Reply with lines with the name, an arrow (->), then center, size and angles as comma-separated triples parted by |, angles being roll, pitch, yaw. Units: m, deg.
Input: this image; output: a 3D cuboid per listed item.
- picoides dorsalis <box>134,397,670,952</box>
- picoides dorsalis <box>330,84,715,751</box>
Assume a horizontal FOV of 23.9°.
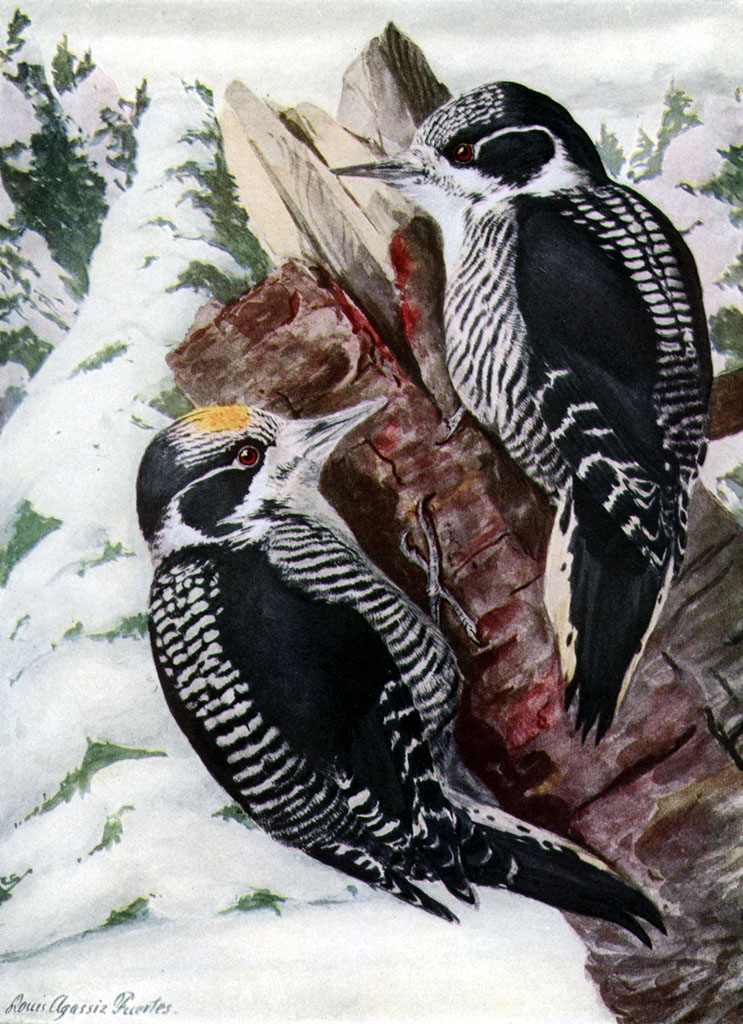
picoides dorsalis -> -0.002, 0.260, 2.573 | 0.503, 0.800, 0.562 | -20, 28, -16
picoides dorsalis -> 0.215, -0.099, 2.603 | 0.382, 0.905, 1.060 | -7, 21, -17
